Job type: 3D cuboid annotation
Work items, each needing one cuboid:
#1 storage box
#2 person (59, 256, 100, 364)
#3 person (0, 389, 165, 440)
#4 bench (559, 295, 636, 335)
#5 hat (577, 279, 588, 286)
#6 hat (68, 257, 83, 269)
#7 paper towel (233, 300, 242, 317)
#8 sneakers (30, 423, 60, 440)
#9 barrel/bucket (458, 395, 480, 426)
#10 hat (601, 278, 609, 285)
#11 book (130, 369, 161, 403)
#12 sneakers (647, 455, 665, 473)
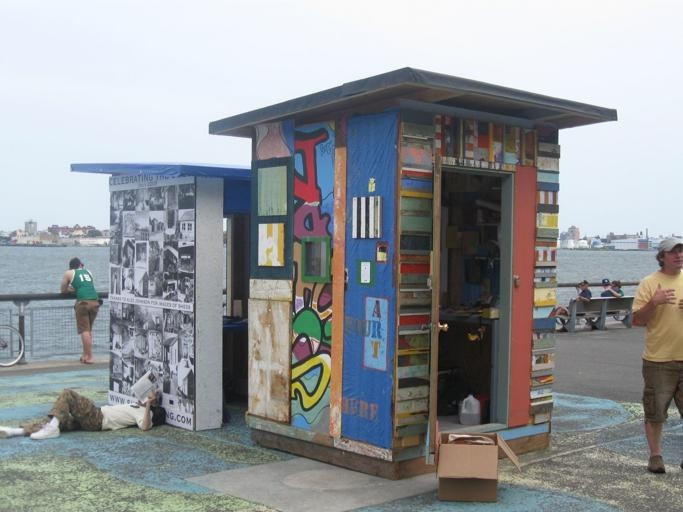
[{"bbox_3d":[1.262,2.123,7.050,0.678,0.504,0.675,1,2,2],"label":"storage box"},{"bbox_3d":[-5.228,1.102,13.755,0.776,2.103,0.669,-1,2,-37],"label":"person"},{"bbox_3d":[-3.242,2.135,9.055,1.189,0.402,0.883,5,-8,-27],"label":"person"},{"bbox_3d":[7.455,1.640,19.968,2.300,0.873,0.742,-1,6,-19],"label":"bench"},{"bbox_3d":[7.053,0.750,19.742,0.321,0.188,0.220,-1,-1,-3],"label":"hat"},{"bbox_3d":[-5.334,0.157,13.823,0.271,0.354,0.331,0,-2,-33],"label":"hat"},{"bbox_3d":[-1.715,0.847,11.295,0.150,0.269,0.076,2,2,38],"label":"paper towel"},{"bbox_3d":[-3.746,2.215,8.632,0.359,0.176,0.144,3,-5,-17],"label":"sneakers"},{"bbox_3d":[1.614,1.946,8.576,0.266,0.348,0.161,1,1,9],"label":"barrel/bucket"},{"bbox_3d":[8.160,0.819,21.171,0.254,0.131,0.387,-9,1,0],"label":"hat"},{"bbox_3d":[-2.697,1.789,9.560,0.119,0.403,0.407,39,40,22],"label":"book"},{"bbox_3d":[3.489,2.306,7.588,0.096,0.122,0.282,-1,1,6],"label":"sneakers"}]
